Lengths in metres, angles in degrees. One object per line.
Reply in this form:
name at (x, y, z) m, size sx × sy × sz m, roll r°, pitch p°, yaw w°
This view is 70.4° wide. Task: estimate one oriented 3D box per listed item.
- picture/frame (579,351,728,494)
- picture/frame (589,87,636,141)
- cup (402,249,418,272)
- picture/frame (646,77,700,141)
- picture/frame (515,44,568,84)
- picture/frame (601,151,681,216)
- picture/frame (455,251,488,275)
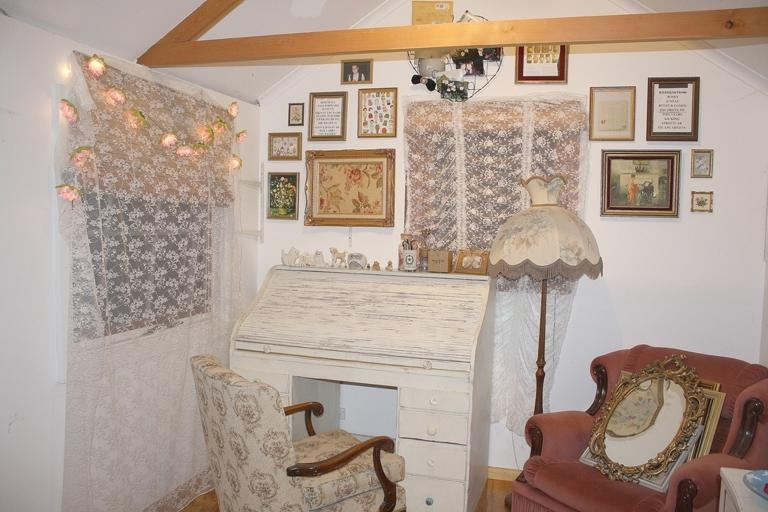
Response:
picture/frame at (1.854, 1.156, 3.789) m, size 0.141 × 0.917 × 0.718 m, roll 47°, pitch -12°, yaw -35°
picture/frame at (1.928, -1.200, 4.586) m, size 0.458 × 0.537 × 0.035 m, roll 0°, pitch 0°, yaw 7°
cup at (0.217, 0.032, 4.615) m, size 0.142 × 0.182 × 0.082 m, roll 1°, pitch 4°, yaw 1°
picture/frame at (2.388, -1.215, 4.495) m, size 0.524 × 0.696 × 0.059 m, roll 1°, pitch 2°, yaw 12°
picture/frame at (1.356, -1.638, 4.654) m, size 0.310 × 0.316 × 0.025 m, roll -4°, pitch 6°, yaw 6°
picture/frame at (2.160, -0.599, 4.544) m, size 0.551 × 0.530 × 0.039 m, roll 0°, pitch 2°, yaw 11°
picture/frame at (0.720, 0.053, 4.534) m, size 0.259 × 0.184 × 0.240 m, roll 2°, pitch 4°, yaw 5°
